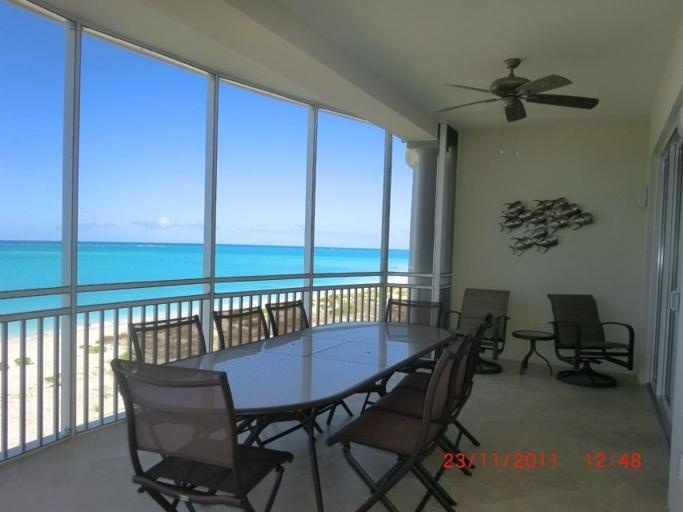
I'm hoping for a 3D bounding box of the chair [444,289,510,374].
[{"bbox_3d":[1.778,0.966,6.642,0.727,1.046,0.741,2,1,28],"label":"chair"}]

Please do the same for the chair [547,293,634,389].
[{"bbox_3d":[2.954,0.972,6.083,0.719,1.081,0.794,4,-5,-11],"label":"chair"}]

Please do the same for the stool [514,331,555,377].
[{"bbox_3d":[2.451,1.221,6.456,0.473,0.509,0.455,-2,2,-26],"label":"stool"}]
